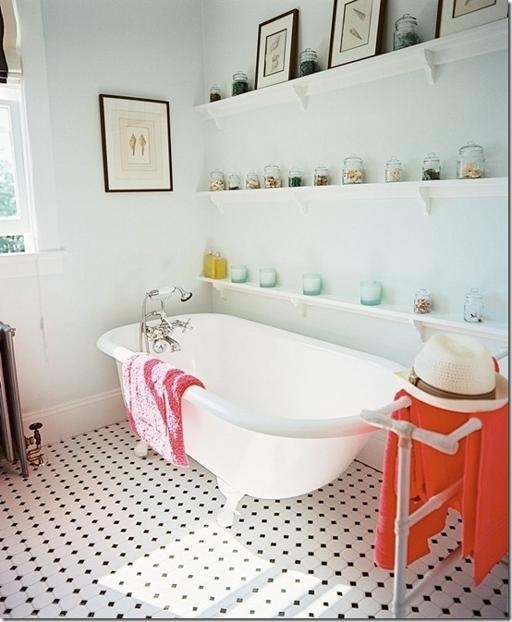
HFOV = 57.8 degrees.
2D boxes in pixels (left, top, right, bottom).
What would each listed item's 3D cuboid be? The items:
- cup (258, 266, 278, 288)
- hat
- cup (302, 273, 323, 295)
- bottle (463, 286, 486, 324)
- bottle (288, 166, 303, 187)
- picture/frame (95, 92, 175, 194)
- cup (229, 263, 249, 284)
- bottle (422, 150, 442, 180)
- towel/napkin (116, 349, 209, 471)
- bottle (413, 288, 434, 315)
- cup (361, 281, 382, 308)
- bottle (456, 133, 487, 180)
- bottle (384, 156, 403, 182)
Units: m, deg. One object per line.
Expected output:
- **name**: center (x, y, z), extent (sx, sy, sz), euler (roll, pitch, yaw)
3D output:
- **cup**: center (0.073, -0.196, 2.677), extent (0.086, 0.087, 0.114), euler (-3, 11, -12)
- **hat**: center (0.526, 0.154, 1.155), extent (0.277, 0.179, 0.161), euler (-5, 12, -14)
- **cup**: center (0.294, -0.145, 2.452), extent (0.100, 0.116, 0.104), euler (0, 7, 0)
- **bottle**: center (0.820, -0.019, 1.741), extent (0.067, 0.113, 0.108), euler (5, 13, 31)
- **bottle**: center (0.211, -0.700, 2.422), extent (0.096, 0.112, 0.098), euler (1, 8, 10)
- **picture/frame**: center (-0.727, -1.000, 2.724), extent (0.585, 0.706, 0.028), euler (-11, 17, -41)
- **cup**: center (-0.101, -0.230, 2.940), extent (0.090, 0.092, 0.121), euler (-5, 9, -34)
- **bottle**: center (0.687, -0.567, 1.814), extent (0.072, 0.115, 0.148), euler (2, 12, 19)
- **towel/napkin**: center (-0.424, 0.454, 2.049), extent (0.194, 0.385, 0.508), euler (-13, 20, -35)
- **bottle**: center (0.692, -0.043, 1.927), extent (0.097, 0.095, 0.072), euler (-13, 16, -43)
- **cup**: center (0.520, -0.076, 2.147), extent (0.097, 0.108, 0.098), euler (-1, 10, 0)
- **bottle**: center (0.764, -0.545, 1.645), extent (0.120, 0.181, 0.123), euler (-1, 4, 0)
- **bottle**: center (0.579, -0.590, 1.947), extent (0.068, 0.107, 0.166), euler (1, 12, 15)
